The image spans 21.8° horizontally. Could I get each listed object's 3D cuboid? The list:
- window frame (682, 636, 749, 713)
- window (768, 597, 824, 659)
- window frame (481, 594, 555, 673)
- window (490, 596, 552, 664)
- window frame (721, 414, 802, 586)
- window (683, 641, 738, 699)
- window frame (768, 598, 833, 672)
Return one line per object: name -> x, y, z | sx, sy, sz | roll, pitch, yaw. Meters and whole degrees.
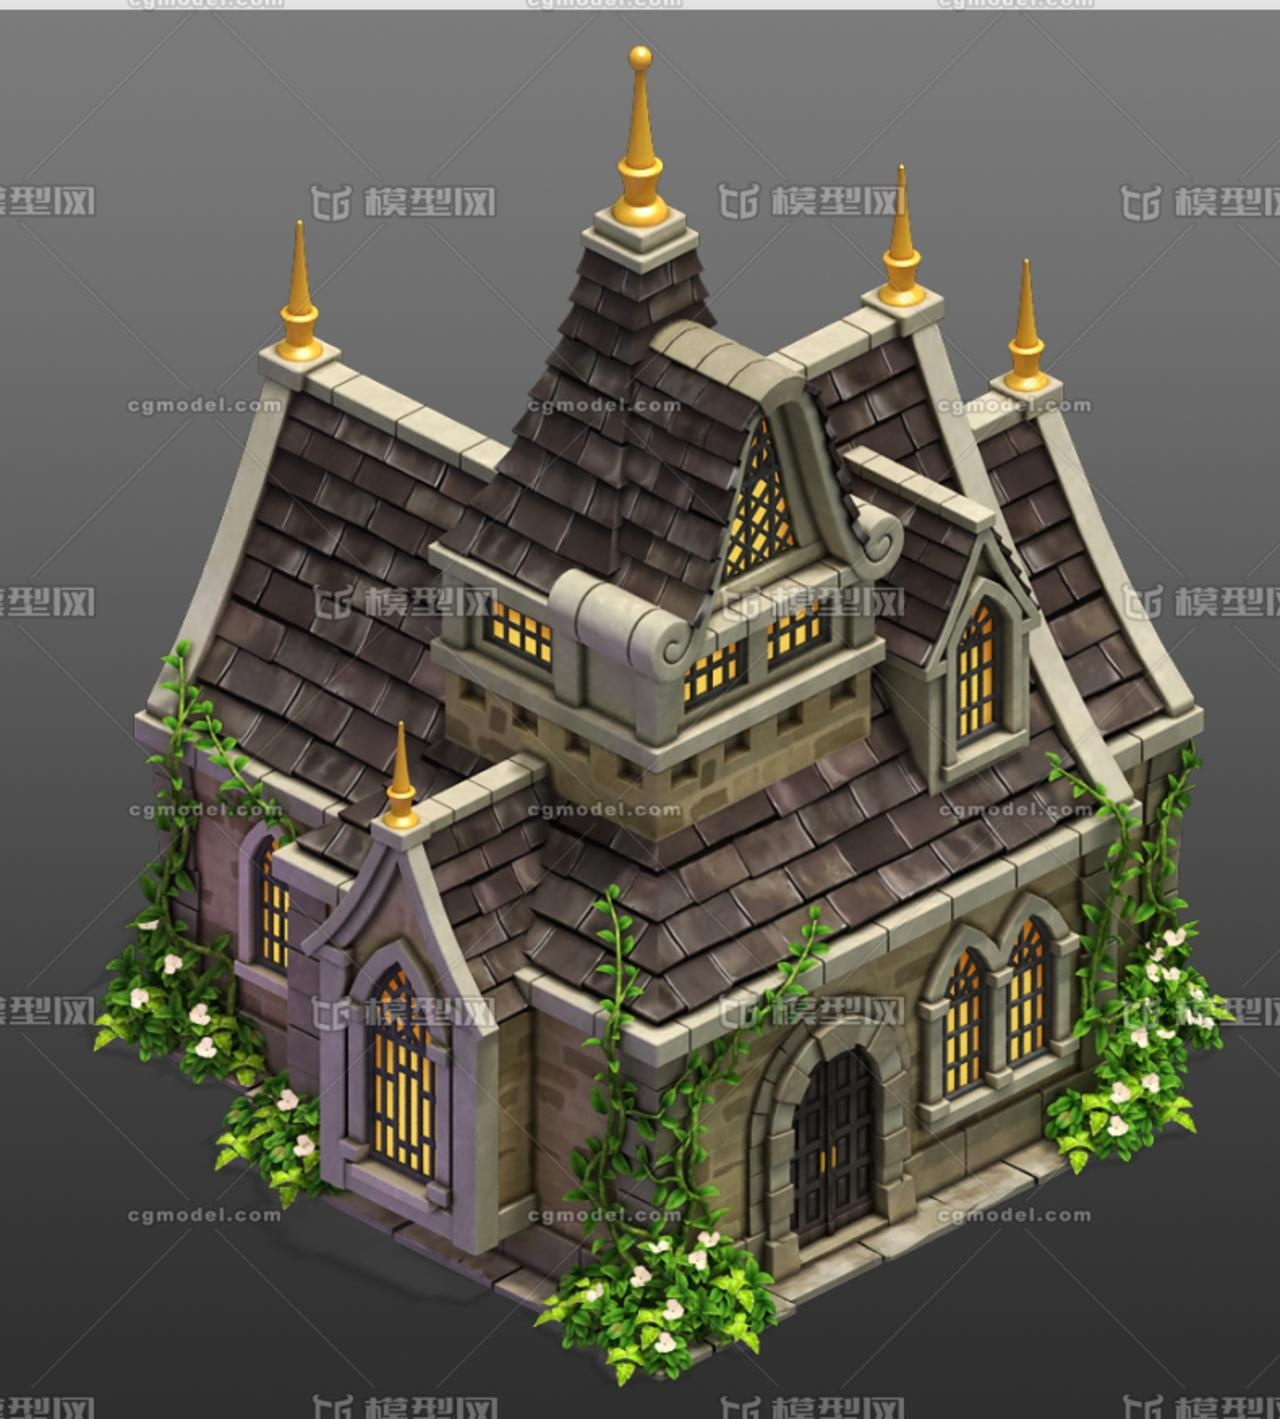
window frame -> 0.389, -0.191, 18.577 | 0.434, 0.033, 0.334 | -31, -36, -27
window -> 0.860, -0.463, 18.966 | 0.354, 0.028, 0.312 | -30, -33, -19
window frame -> -0.696, -0.435, 18.996 | 0.032, 0.485, 0.251 | -33, -40, -41
window -> -0.680, -0.456, 18.959 | 0.022, 0.421, 0.221 | -33, -41, -40
window frame -> 0.640, -1.186, 18.468 | 0.809, 0.050, 0.937 | -30, -37, -28
window -> 0.364, -0.216, 18.540 | 0.332, 0.028, 0.251 | -28, -39, -28
window frame -> 0.885, -0.421, 19.018 | 0.423, 0.032, 0.371 | -29, -35, -21
